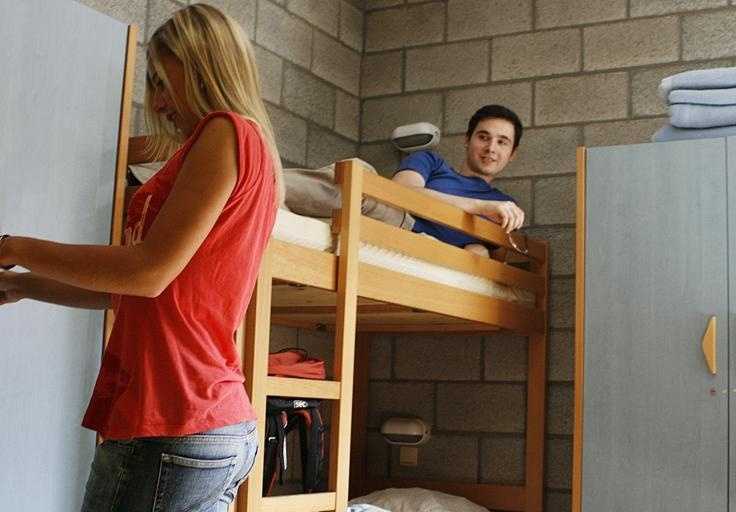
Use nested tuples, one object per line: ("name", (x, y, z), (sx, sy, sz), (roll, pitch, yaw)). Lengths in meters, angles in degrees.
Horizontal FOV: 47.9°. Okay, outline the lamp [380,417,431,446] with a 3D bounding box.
("lamp", (0.177, 0.843, 4.001), (0.180, 0.083, 0.163), (0, -4, 25))
